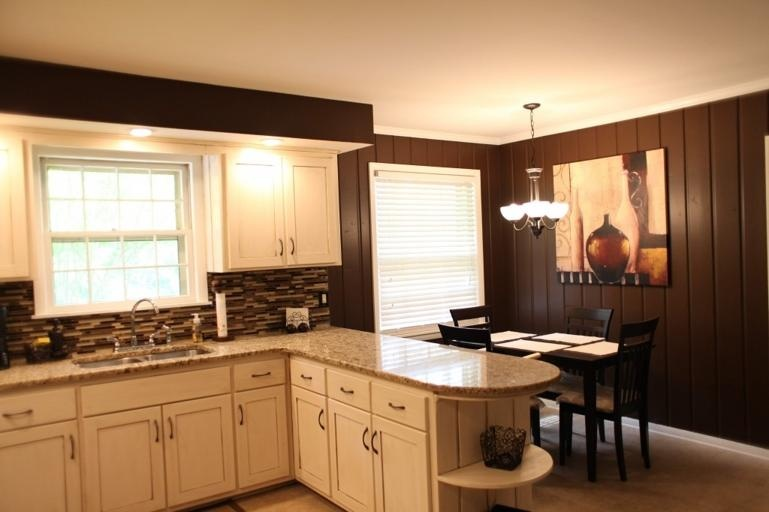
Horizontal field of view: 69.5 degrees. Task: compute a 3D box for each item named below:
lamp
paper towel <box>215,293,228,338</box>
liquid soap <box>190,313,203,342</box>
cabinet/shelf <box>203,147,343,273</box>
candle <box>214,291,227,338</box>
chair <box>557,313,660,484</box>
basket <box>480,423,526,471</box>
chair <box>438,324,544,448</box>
[{"bbox_3d":[1.382,-0.818,5.161,0.648,1.201,0.632,-4,8,-5],"label":"lamp"},{"bbox_3d":[-1.463,0.520,4.869,0.115,0.433,0.105,4,-28,-25],"label":"paper towel"},{"bbox_3d":[-1.631,0.615,4.810,0.093,0.233,0.194,-4,4,-20],"label":"liquid soap"},{"bbox_3d":[-1.035,-0.423,4.881,1.115,0.941,0.432,3,-4,-35],"label":"cabinet/shelf"},{"bbox_3d":[-1.444,0.509,4.892,0.104,0.385,0.234,-4,4,-16],"label":"candle"},{"bbox_3d":[1.921,1.179,4.890,0.803,1.202,0.726,-3,0,35],"label":"chair"},{"bbox_3d":[0.723,1.186,3.520,0.266,0.250,0.225,-2,-2,41],"label":"basket"},{"bbox_3d":[0.847,1.003,4.463,0.644,0.978,0.685,11,-16,-23],"label":"chair"}]
